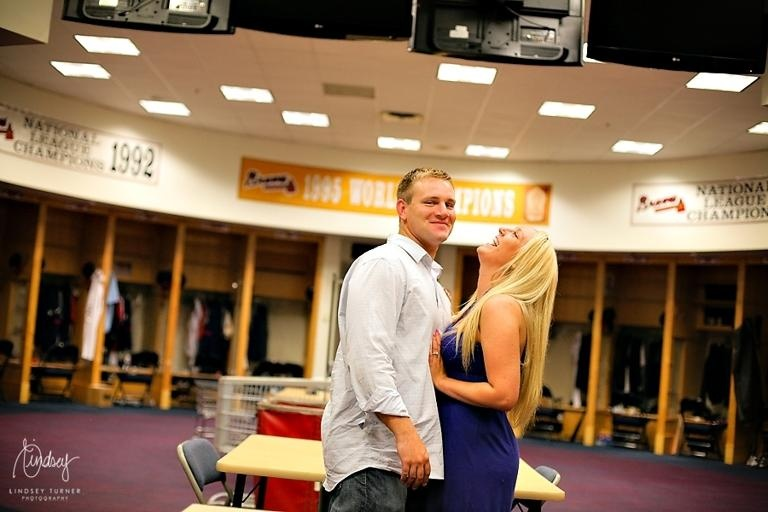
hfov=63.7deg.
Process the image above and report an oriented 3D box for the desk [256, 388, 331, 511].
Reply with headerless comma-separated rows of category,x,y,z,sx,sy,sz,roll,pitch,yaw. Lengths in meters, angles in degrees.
desk,-0.872,1.715,5.934,0.720,1.277,1.301,2,1,-5
